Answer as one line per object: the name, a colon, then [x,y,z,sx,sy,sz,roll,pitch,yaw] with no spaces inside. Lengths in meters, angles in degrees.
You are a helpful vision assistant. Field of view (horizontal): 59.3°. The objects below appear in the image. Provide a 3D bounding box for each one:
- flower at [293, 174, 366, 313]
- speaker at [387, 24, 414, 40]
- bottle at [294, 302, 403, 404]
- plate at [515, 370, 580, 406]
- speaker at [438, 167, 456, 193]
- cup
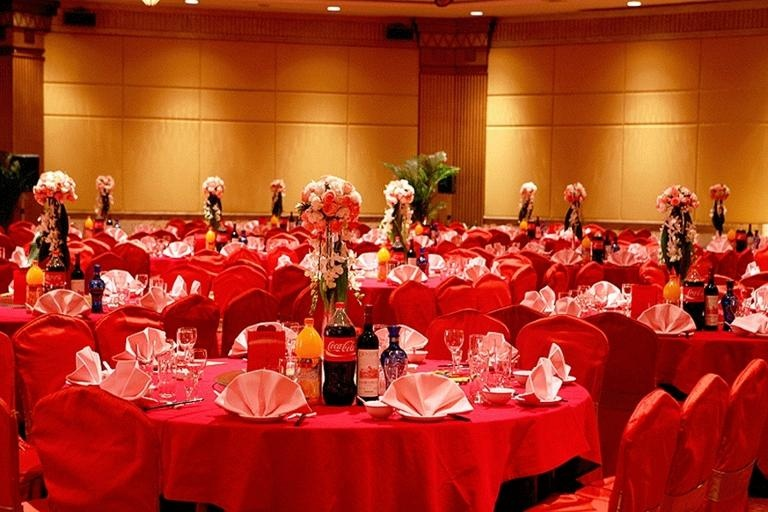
flower: [-0.259,-0.053,3.158,0.305,0.646,0.386,1,5,-4]
speaker: [0.317,-4.596,13.850,0.350,0.272,0.377,5,15,16]
bottle: [-0.168,0.461,3.160,0.356,0.576,0.203,-1,3,-21]
plate: [0.765,0.606,3.209,0.178,0.143,0.358,6,7,41]
speaker: [1.319,-1.526,14.157,0.404,0.400,0.261,2,5,3]
cup: [0.486,0.522,3.291,0.237,0.381,0.344,2,6,28]
